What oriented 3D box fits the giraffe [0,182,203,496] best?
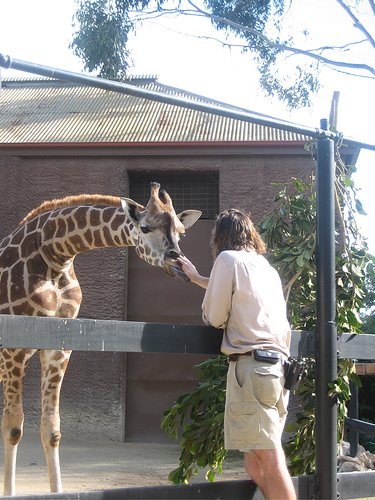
[{"bbox_3d":[-0.791,0.665,7.308,1.320,2.268,0.908,0,-5,-2],"label":"giraffe"}]

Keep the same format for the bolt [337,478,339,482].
[{"bbox_3d":[0.887,1.364,5.707,0.006,0.024,0.022,-3,-5,28],"label":"bolt"}]

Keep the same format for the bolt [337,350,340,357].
[{"bbox_3d":[0.900,0.624,5.782,0.009,0.035,0.027,-4,-6,34],"label":"bolt"}]

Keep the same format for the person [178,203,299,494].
[{"bbox_3d":[0.345,0.563,5.603,0.513,1.622,0.333,-1,-5,6],"label":"person"}]

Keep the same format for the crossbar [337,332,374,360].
[{"bbox_3d":[1.007,0.595,5.883,0.324,0.158,0.122,3,-6,-39],"label":"crossbar"}]

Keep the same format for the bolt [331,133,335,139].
[{"bbox_3d":[0.901,-0.699,6.011,0.033,0.030,0.008,1,-9,-13],"label":"bolt"}]

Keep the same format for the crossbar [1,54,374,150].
[{"bbox_3d":[-0.005,-0.858,5.900,2.285,0.371,0.418,1,-5,-17],"label":"crossbar"}]
